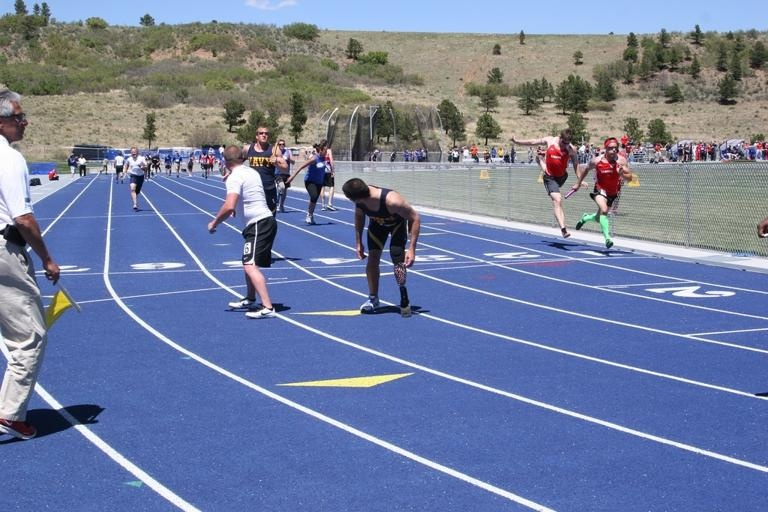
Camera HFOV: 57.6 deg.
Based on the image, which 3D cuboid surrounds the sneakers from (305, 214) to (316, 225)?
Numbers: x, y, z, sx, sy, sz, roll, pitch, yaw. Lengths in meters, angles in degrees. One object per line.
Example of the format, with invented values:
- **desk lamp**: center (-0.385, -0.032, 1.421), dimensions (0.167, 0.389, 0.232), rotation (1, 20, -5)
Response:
- **sneakers**: center (-2.098, -1.014, 20.068), dimensions (0.168, 0.211, 0.492), rotation (1, -2, -23)

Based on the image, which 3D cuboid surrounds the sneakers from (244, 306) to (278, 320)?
- **sneakers**: center (-1.705, 0.808, 9.762), dimensions (0.465, 0.200, 0.167), rotation (1, 1, -5)

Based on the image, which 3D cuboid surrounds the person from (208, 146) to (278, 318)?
- **person**: center (-1.921, -0.336, 9.887), dimensions (0.781, 2.463, 1.390), rotation (-3, 13, -9)

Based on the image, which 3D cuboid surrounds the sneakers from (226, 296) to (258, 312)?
- **sneakers**: center (-2.029, 0.713, 10.263), dimensions (0.533, 0.236, 0.192), rotation (2, 1, -3)

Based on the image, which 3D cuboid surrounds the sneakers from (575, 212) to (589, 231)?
- **sneakers**: center (4.629, -0.812, 16.300), dimensions (0.202, 0.504, 0.167), rotation (8, 34, -48)

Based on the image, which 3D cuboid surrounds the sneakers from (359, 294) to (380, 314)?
- **sneakers**: center (-0.174, 0.725, 10.138), dimensions (0.150, 0.161, 0.357), rotation (0, -2, 29)

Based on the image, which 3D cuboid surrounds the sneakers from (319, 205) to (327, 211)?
- **sneakers**: center (-2.003, -1.621, 23.814), dimensions (0.127, 0.263, 0.370), rotation (-1, -5, -23)

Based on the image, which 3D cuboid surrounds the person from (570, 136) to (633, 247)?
- **person**: center (4.499, -1.254, 14.321), dimensions (0.678, 2.334, 1.352), rotation (-7, 15, -26)
